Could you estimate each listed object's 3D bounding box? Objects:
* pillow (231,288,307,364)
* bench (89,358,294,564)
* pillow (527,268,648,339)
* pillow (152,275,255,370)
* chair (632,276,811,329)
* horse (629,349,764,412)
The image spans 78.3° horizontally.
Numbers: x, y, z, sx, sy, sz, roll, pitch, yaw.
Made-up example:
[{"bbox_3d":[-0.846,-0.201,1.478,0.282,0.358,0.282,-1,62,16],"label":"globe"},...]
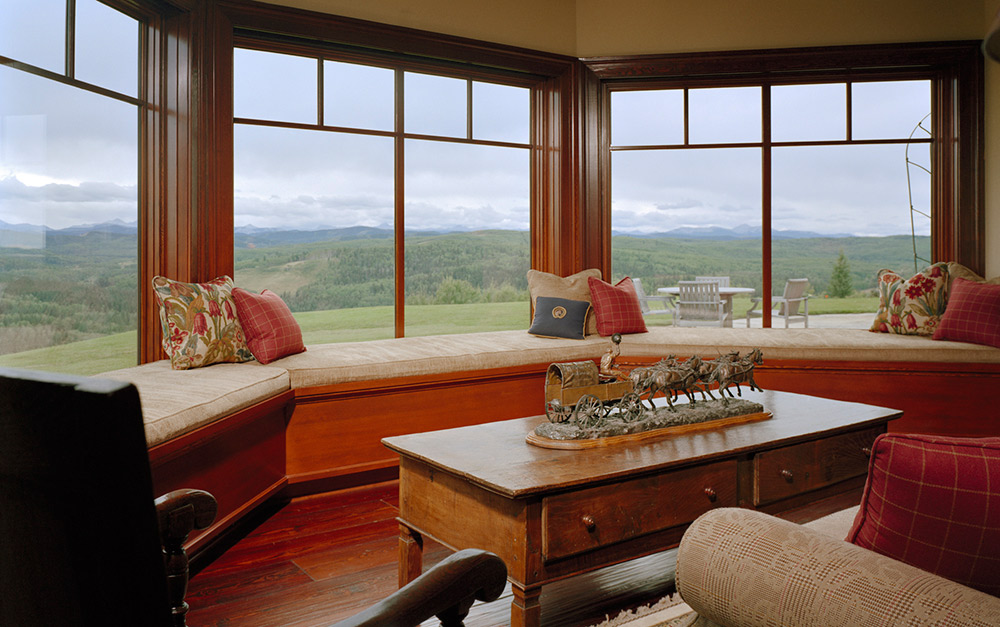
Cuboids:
[{"bbox_3d":[-1.463,0.090,3.900,0.314,0.454,0.597,-4,1,22],"label":"pillow"},{"bbox_3d":[-1.612,0.908,3.545,0.800,0.772,1.256,-23,-5,-44],"label":"bench"},{"bbox_3d":[0.713,-0.094,5.001,0.954,0.516,0.501,1,7,1],"label":"pillow"},{"bbox_3d":[-1.703,0.039,3.591,0.215,0.504,0.486,6,9,33],"label":"pillow"},{"bbox_3d":[2.204,-0.093,5.733,0.957,0.362,0.552,0,4,18],"label":"chair"},{"bbox_3d":[0.938,0.292,2.899,0.596,0.173,0.453,-3,1,-18],"label":"horse"}]
